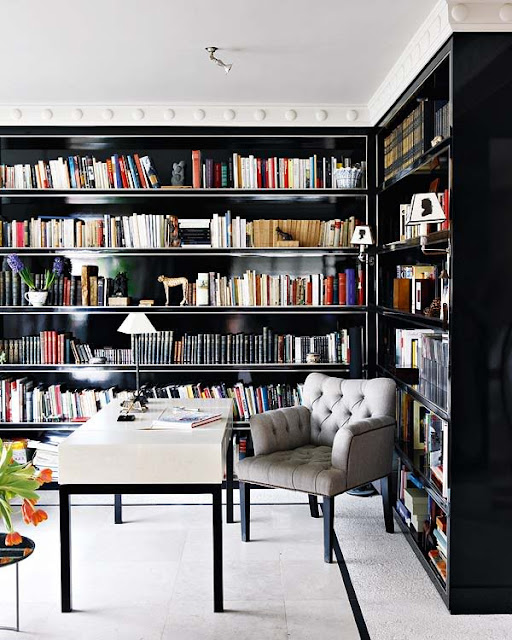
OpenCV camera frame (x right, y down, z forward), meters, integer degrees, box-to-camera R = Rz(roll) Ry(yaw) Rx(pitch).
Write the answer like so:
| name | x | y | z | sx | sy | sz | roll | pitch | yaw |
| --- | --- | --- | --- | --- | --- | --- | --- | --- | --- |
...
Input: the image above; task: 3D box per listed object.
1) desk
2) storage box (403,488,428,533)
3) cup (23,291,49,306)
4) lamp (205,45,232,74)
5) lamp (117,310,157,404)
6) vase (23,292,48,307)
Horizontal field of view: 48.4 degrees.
| name | x | y | z | sx | sy | sz | roll | pitch | yaw |
| --- | --- | --- | --- | --- | --- | --- | --- | --- | --- |
| desk | -0.534 | 0.881 | 2.820 | 0.776 | 0.765 | 0.757 | 0 | 1 | 0 |
| storage box | 0.886 | 1.045 | 3.246 | 0.120 | 0.248 | 0.232 | 1 | -2 | -4 |
| cup | -1.635 | -0.163 | 4.205 | 0.102 | 0.109 | 0.130 | 0 | -3 | -9 |
| lamp | -0.215 | -1.412 | 3.105 | 0.138 | 0.177 | 0.098 | -12 | 9 | -33 |
| lamp | -0.775 | 0.250 | 3.674 | 0.249 | 0.603 | 1.406 | 0 | 1 | -11 |
| vase | -1.659 | -0.155 | 4.249 | 0.172 | 0.121 | 0.145 | -1 | 1 | -7 |
